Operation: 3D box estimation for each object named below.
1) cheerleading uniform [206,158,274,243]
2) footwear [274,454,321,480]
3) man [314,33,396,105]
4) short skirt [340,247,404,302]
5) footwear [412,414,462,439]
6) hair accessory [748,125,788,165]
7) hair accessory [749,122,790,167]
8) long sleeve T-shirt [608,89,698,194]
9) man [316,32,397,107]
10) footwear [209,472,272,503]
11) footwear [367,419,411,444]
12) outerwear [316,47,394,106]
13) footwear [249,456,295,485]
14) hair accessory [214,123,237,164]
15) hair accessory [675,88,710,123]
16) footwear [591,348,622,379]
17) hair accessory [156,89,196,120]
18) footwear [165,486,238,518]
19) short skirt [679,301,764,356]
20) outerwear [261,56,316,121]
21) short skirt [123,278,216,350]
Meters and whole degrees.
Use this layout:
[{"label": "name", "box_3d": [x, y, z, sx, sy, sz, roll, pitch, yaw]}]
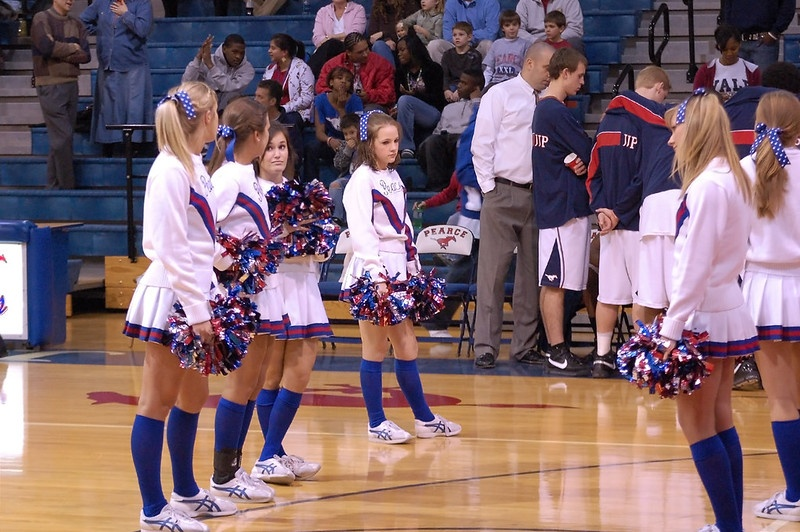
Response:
[{"label": "cheerleading uniform", "box_3d": [-0.906, -0.340, 5.755, 0.201, 0.393, 0.381, -14, 7, 23]}, {"label": "footwear", "box_3d": [-0.618, 1.207, 6.168, 0.262, 0.128, 0.105, 4, 6, 0]}, {"label": "man", "box_3d": [-0.537, -2.070, 11.150, 0.788, 1.027, 0.777, -4, 16, -12]}, {"label": "short skirt", "box_3d": [-0.185, 0.036, 6.689, 0.410, 0.439, 0.297, 0, -6, -7]}, {"label": "footwear", "box_3d": [0.232, 1.087, 6.913, 0.303, 0.157, 0.125, -1, -3, -5]}, {"label": "hair accessory", "box_3d": [1.998, -0.647, 5.620, 0.200, 0.240, 0.122, 15, 34, 43]}, {"label": "hair accessory", "box_3d": [2.003, -0.648, 5.617, 0.102, 0.202, 0.172, -33, 32, -25]}, {"label": "long sleeve T-shirt", "box_3d": [1.902, -0.957, 7.866, 0.623, 0.838, 0.342, 3, -3, 39]}, {"label": "man", "box_3d": [-0.386, -2.024, 11.112, 0.817, 1.065, 0.781, -4, 15, -11]}, {"label": "footwear", "box_3d": [-0.886, 1.261, 5.867, 0.376, 0.174, 0.150, 3, 0, -3]}, {"label": "footwear", "box_3d": [-0.077, 1.098, 6.789, 0.292, 0.145, 0.119, 0, -1, 11]}, {"label": "outerwear", "box_3d": [-0.464, -1.994, 10.989, 0.895, 0.743, 0.543, 3, 6, 5]}, {"label": "footwear", "box_3d": [-0.741, 1.202, 5.996, 0.283, 0.139, 0.118, 7, 6, 7]}, {"label": "hair accessory", "box_3d": [-0.963, -0.690, 5.784, 0.130, 0.183, 0.178, -1, 10, 8]}, {"label": "hair accessory", "box_3d": [1.490, -0.827, 5.382, 0.146, 0.205, 0.070, 5, 23, -39]}, {"label": "footwear", "box_3d": [1.652, 0.772, 8.297, 0.197, 0.243, 0.518, 1, 8, 19]}, {"label": "hair accessory", "box_3d": [-1.159, -0.837, 5.367, 0.154, 0.071, 0.171, -29, 50, -27]}, {"label": "footwear", "box_3d": [-1.094, 1.300, 5.704, 0.385, 0.177, 0.142, 2, -2, -13]}, {"label": "short skirt", "box_3d": [1.631, 0.341, 5.229, 0.349, 0.253, 0.259, 0, 9, 5]}, {"label": "outerwear", "box_3d": [-1.211, -1.830, 11.331, 0.711, 0.814, 0.577, 3, 5, 41]}, {"label": "short skirt", "box_3d": [-1.191, 0.246, 5.450, 0.424, 0.424, 0.304, 16, 4, -7]}]
